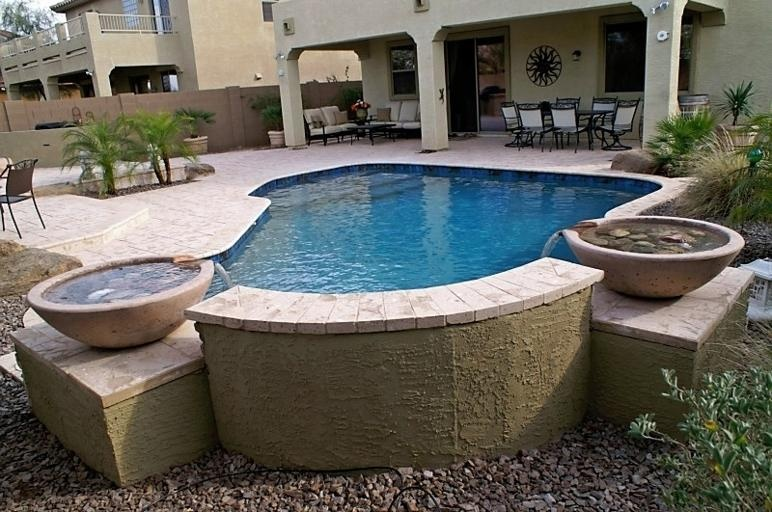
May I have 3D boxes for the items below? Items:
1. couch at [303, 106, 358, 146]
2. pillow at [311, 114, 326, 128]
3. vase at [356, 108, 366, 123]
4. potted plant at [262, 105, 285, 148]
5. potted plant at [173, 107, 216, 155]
[{"bbox_3d":[-1.949,-4.453,16.666,1.648,1.159,1.653,-9,20,-15],"label":"couch"},{"bbox_3d":[-2.219,-4.455,16.217,0.452,0.367,0.626,-5,19,-4],"label":"pillow"},{"bbox_3d":[-0.791,-4.524,15.853,0.308,0.486,0.653,-6,19,-2],"label":"vase"},{"bbox_3d":[-3.873,-4.510,16.905,0.662,1.405,1.650,-9,20,-11],"label":"potted plant"},{"bbox_3d":[-5.701,-3.795,15.026,1.141,1.449,3.691,-11,19,-17],"label":"potted plant"}]
